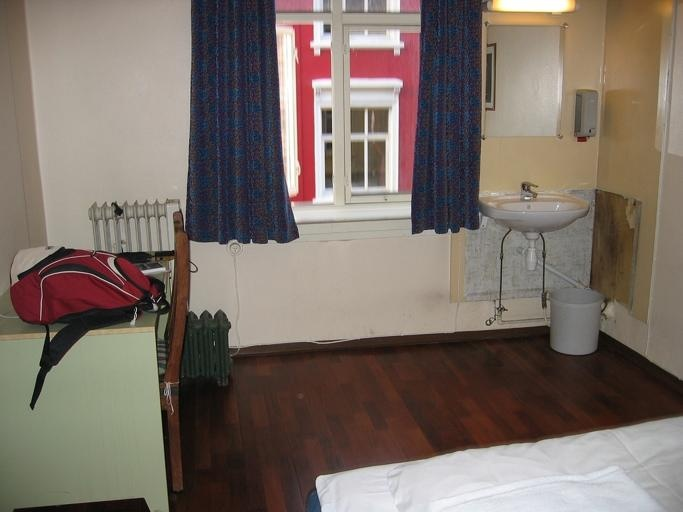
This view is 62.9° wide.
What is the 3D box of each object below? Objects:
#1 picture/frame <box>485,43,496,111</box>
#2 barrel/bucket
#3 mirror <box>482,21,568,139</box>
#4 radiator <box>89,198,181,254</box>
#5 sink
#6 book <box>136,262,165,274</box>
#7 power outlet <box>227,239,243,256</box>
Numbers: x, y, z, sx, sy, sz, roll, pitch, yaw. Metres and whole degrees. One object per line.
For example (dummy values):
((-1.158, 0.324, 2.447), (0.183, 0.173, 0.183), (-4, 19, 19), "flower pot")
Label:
((1.031, -1.241, 3.884), (0.079, 0.432, 0.034), (-4, 14, -8), "picture/frame")
((1.631, 0.454, 4.076), (0.401, 0.482, 0.417), (-3, 15, 1), "barrel/bucket")
((1.251, -1.264, 3.903), (0.624, 0.939, 0.066), (-1, 12, -2), "mirror")
((-1.333, -0.196, 3.565), (0.468, 0.584, 0.150), (1, 19, -1), "radiator")
((1.288, -0.281, 3.785), (0.702, 0.220, 0.541), (0, 16, 11), "sink")
((-1.064, 0.068, 3.131), (0.076, 0.023, 0.089), (0, 23, -13), "book")
((-0.732, -0.052, 3.827), (0.089, 0.110, 0.024), (-12, 11, -4), "power outlet")
